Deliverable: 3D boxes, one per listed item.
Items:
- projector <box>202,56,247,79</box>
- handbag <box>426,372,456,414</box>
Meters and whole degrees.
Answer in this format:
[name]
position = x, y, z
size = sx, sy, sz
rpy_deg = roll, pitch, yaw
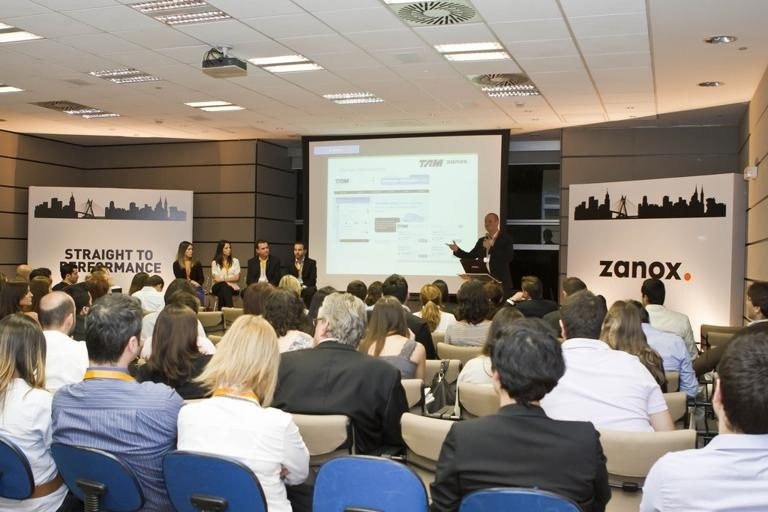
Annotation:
[projector]
position = -2.065, -2.434, 7.187
size = 0.402, 0.117, 0.291
rpy_deg = -1, -5, 20
[handbag]
position = 0.432, 1.082, 4.315
size = 0.156, 0.252, 0.262
rpy_deg = 3, -4, -35
